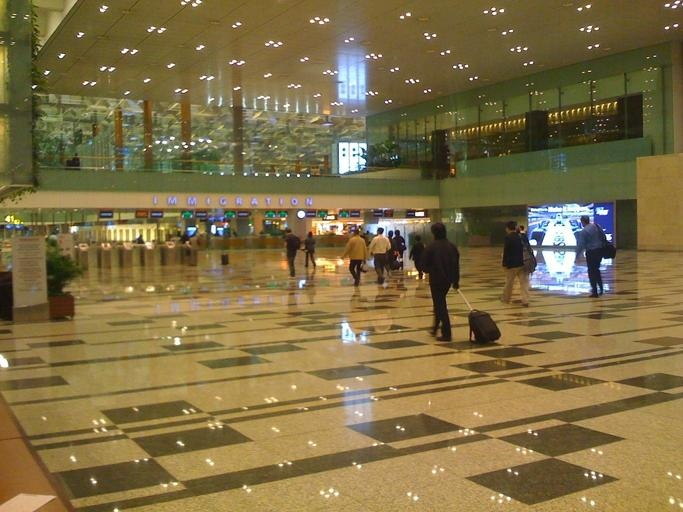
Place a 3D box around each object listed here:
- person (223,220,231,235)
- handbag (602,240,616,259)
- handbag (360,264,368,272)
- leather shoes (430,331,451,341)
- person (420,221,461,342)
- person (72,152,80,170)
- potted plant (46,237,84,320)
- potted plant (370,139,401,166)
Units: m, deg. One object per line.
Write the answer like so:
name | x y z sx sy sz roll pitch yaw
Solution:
person | -8.484 -1.975 40.352 0.225 1.088 0.644 2 7 34
handbag | 5.900 -0.104 12.041 0.223 0.303 0.301 0 6 23
handbag | 0.900 0.486 20.684 0.278 0.375 0.361 -1 -2 1
leather shoes | 1.460 1.187 8.009 0.265 0.169 0.091 14 10 42
person | 1.532 0.365 8.354 0.488 1.722 1.287 -1 6 12
person | -14.377 -5.095 29.500 0.441 0.891 0.433 -4 6 -21
potted plant | -5.401 0.445 10.569 0.565 1.489 1.400 -5 6 -26
potted plant | 3.321 -8.059 43.575 2.392 2.192 2.331 1 -7 4
